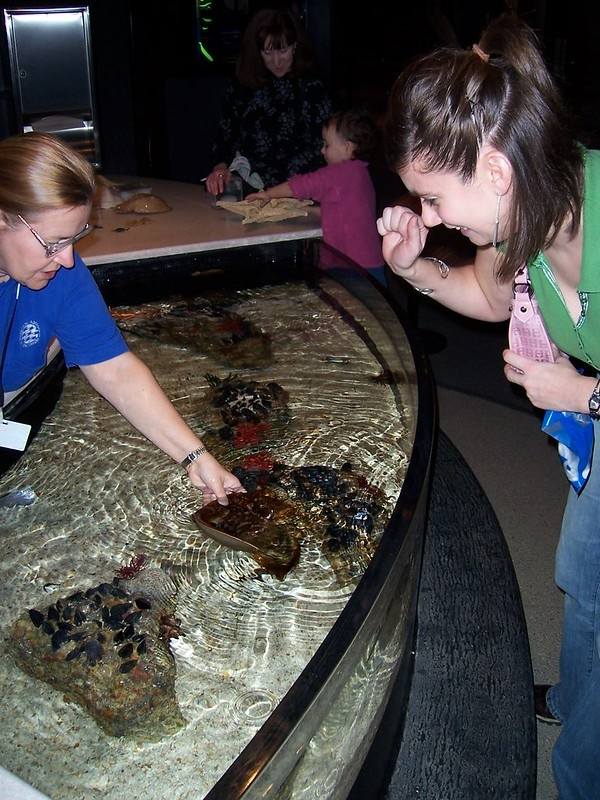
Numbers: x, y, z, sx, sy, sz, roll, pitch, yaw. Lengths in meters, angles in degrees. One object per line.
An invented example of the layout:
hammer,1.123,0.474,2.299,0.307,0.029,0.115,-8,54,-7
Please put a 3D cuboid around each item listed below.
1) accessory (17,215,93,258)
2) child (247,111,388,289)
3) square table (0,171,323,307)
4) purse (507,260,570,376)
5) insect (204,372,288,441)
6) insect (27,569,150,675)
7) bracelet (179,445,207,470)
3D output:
accessory,-0.421,-0.261,1.030,0.022,0.073,0.073,-25,15,48
child,0.127,-0.820,2.767,0.552,0.956,0.394,9,54,9
square table,-0.440,-0.624,2.290,0.709,0.157,0.702,-13,39,-21
purse,0.411,-0.141,1.041,0.073,0.157,0.141,-6,22,28
insect,-0.144,0.005,1.511,0.168,0.052,0.167,-19,34,-29
insect,-0.299,0.345,0.929,0.159,0.048,0.180,-20,28,-37
bracelet,-0.210,0.111,1.192,0.033,0.053,0.055,37,73,9
